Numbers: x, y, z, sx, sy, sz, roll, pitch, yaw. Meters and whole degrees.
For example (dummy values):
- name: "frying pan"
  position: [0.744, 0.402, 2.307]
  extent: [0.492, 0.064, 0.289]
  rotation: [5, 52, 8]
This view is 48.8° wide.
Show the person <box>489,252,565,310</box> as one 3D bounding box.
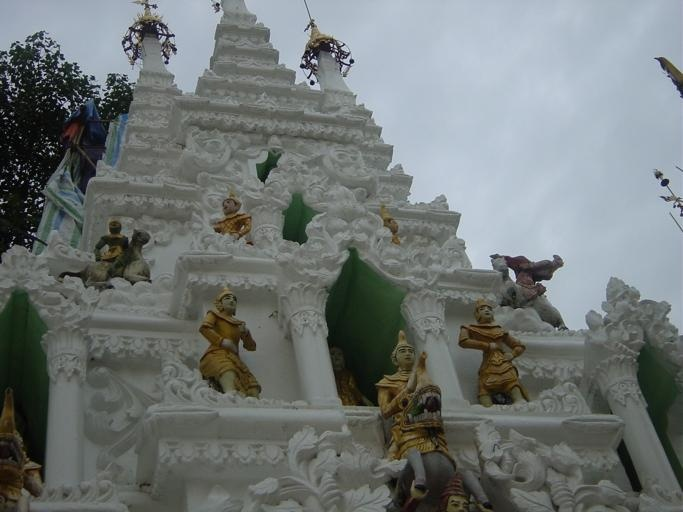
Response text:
- name: "person"
  position: [3.062, 0.488, 12.663]
  extent: [0.872, 0.881, 0.307]
  rotation: [9, -50, -6]

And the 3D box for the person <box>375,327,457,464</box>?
- name: "person"
  position: [0.841, 1.518, 8.648]
  extent: [0.572, 1.722, 1.038]
  rotation: [10, -35, -21]

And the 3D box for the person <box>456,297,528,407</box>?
- name: "person"
  position: [2.213, 1.404, 10.827]
  extent: [0.894, 1.945, 0.499]
  rotation: [-2, -43, 7]

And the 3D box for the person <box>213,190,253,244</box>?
- name: "person"
  position: [-1.663, -0.688, 11.942]
  extent: [0.393, 0.235, 0.828]
  rotation: [-5, -54, -26]

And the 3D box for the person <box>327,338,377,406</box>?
- name: "person"
  position: [0.122, 1.733, 10.898]
  extent: [0.513, 1.009, 0.371]
  rotation: [-2, -32, -3]

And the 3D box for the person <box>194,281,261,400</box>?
- name: "person"
  position: [-1.429, 1.103, 9.588]
  extent: [0.759, 1.482, 0.404]
  rotation: [9, -34, -19]
